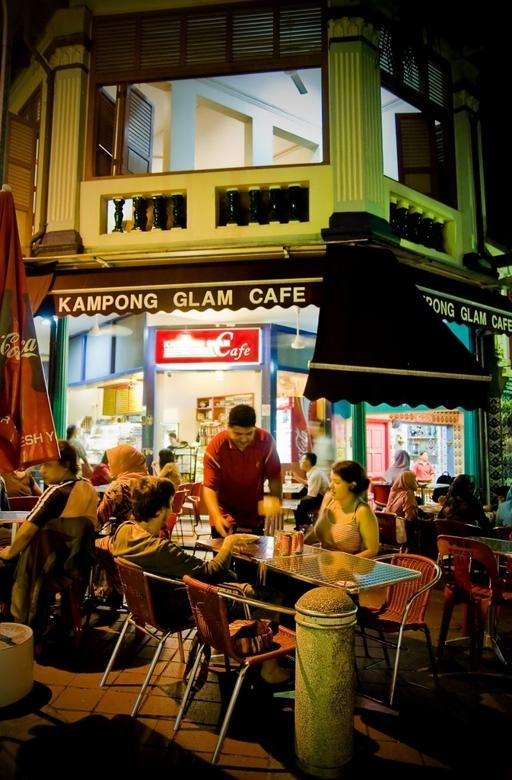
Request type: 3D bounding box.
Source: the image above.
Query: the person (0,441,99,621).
[{"bbox_3d":[-1.558,1.057,4.510,0.409,1.317,0.745,-3,-8,33],"label":"person"}]

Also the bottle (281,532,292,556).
[{"bbox_3d":[0.191,0.989,3.809,0.095,0.161,0.098,1,-21,0],"label":"bottle"}]
